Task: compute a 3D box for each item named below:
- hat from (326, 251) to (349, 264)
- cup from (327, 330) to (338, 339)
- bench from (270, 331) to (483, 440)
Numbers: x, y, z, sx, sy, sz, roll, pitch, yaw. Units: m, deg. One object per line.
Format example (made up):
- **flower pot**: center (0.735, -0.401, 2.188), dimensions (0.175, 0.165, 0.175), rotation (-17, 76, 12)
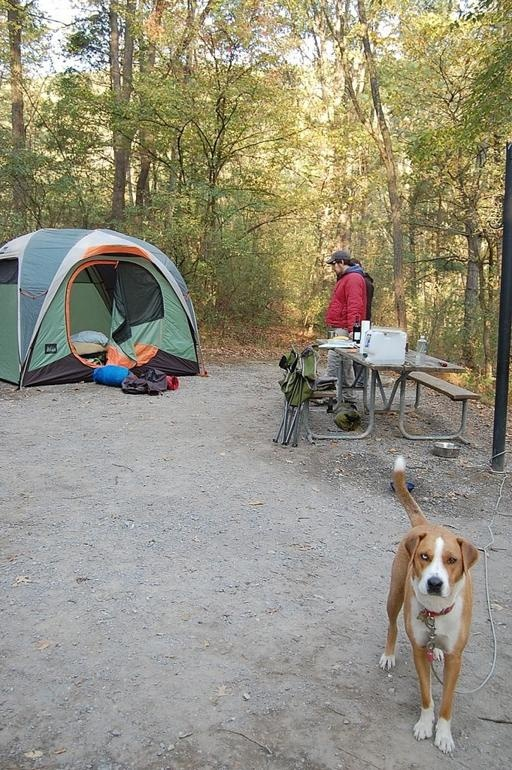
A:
- **hat**: center (1.016, -1.579, 7.823), dimensions (0.293, 0.166, 0.204), rotation (6, 23, 15)
- **cup**: center (0.978, -0.659, 7.906), dimensions (0.136, 0.149, 0.134), rotation (1, 11, 0)
- **bench**: center (1.142, -0.042, 6.638), dimensions (1.475, 0.618, 1.687), rotation (2, 9, -8)
